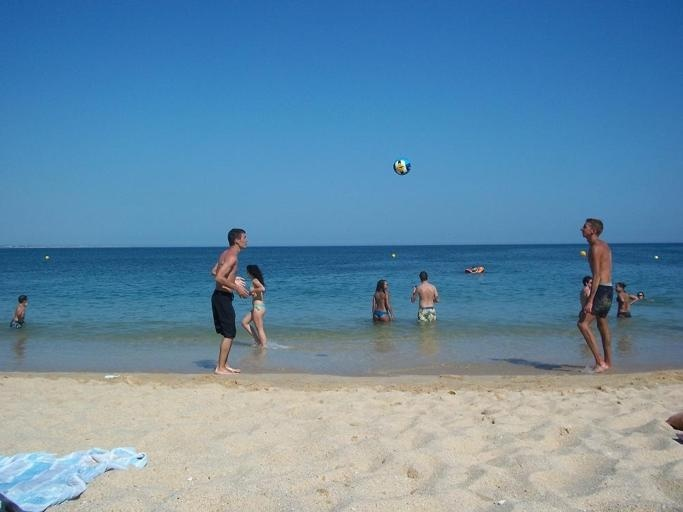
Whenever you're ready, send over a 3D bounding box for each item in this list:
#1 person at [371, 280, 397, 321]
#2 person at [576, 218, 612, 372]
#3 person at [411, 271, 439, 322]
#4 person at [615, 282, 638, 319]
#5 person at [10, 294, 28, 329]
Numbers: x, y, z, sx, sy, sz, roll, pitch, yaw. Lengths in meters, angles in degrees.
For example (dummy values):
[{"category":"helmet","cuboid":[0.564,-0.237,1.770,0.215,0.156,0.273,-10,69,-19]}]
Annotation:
[{"category":"person","cuboid":[1.072,1.191,15.381,0.473,1.161,1.040,-2,1,3]},{"category":"person","cuboid":[3.951,0.678,9.144,0.491,2.499,1.059,-2,1,23]},{"category":"person","cuboid":[2.262,1.383,15.818,0.701,1.830,0.561,-3,18,4]},{"category":"person","cuboid":[7.782,1.220,16.148,0.367,1.002,1.199,-1,1,38]},{"category":"person","cuboid":[-9.617,1.700,17.490,0.390,1.055,0.527,-7,28,-45]}]
